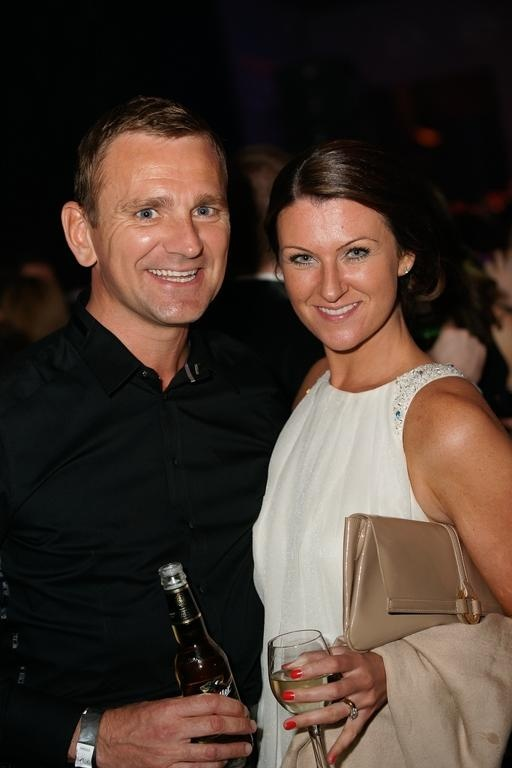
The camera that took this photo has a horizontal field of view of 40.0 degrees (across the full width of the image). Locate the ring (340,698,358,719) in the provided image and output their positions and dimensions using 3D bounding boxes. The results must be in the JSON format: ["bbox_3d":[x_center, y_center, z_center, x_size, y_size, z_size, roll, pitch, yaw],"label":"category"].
[{"bbox_3d":[0.197,0.687,1.499,0.016,0.041,0.036,-4,-9,41],"label":"ring"}]

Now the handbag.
[{"bbox_3d":[0.417,0.465,1.630,0.508,0.286,0.115,10,-10,-32],"label":"handbag"}]

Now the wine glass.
[{"bbox_3d":[0.113,0.711,1.549,0.136,0.354,0.165,-11,21,1],"label":"wine glass"}]
